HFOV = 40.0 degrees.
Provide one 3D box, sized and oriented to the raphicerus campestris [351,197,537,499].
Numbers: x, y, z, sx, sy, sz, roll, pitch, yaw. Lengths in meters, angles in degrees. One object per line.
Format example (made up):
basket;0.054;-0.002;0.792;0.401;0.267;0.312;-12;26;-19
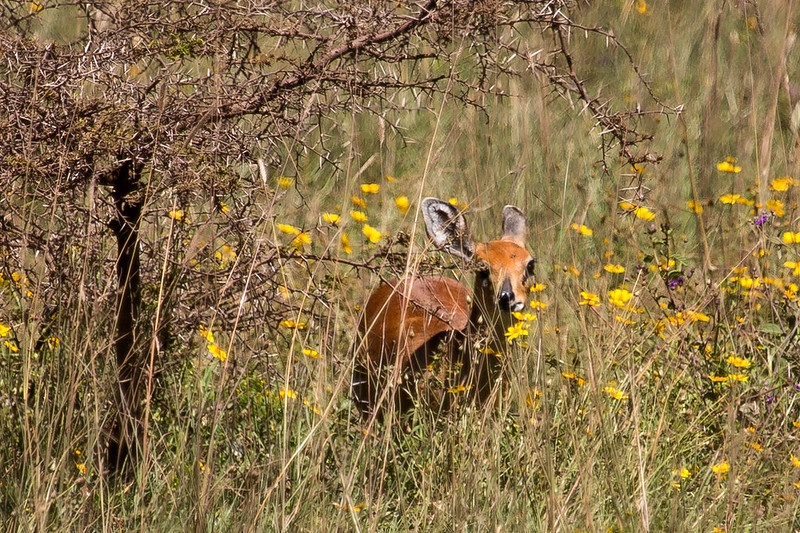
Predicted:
raphicerus campestris;0.316;0.563;7.887;0.702;1.958;2.017;-1;1;-29
